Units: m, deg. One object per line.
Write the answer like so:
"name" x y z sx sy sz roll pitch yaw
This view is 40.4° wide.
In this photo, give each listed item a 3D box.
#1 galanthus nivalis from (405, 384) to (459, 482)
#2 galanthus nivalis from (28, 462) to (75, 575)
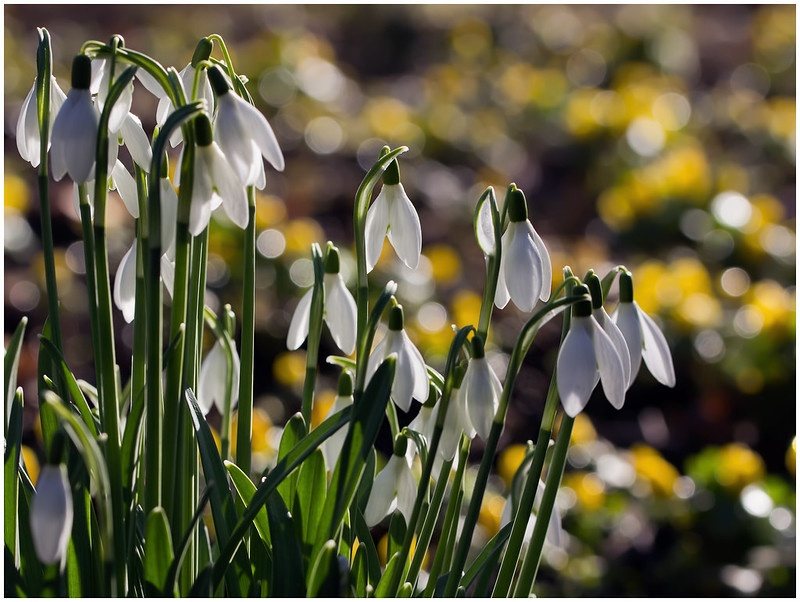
"galanthus nivalis" 0.077 0.289 2.653 0.094 0.098 0.251 -4 -46 2
"galanthus nivalis" -0.778 0.477 2.422 0.087 0.217 0.076 5 -9 -23
